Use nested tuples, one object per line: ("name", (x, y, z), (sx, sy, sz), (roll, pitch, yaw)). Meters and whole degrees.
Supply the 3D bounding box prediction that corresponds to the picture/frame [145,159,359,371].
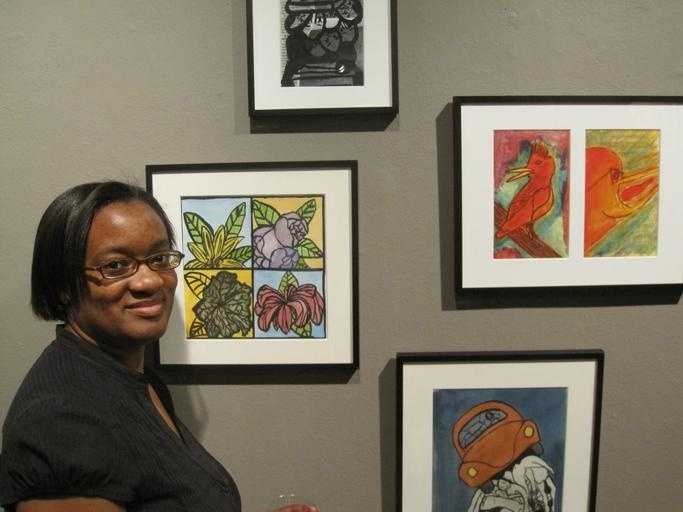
("picture/frame", (-0.200, 0.007, 2.279), (0.432, 0.480, 0.033), (-1, 1, -1))
